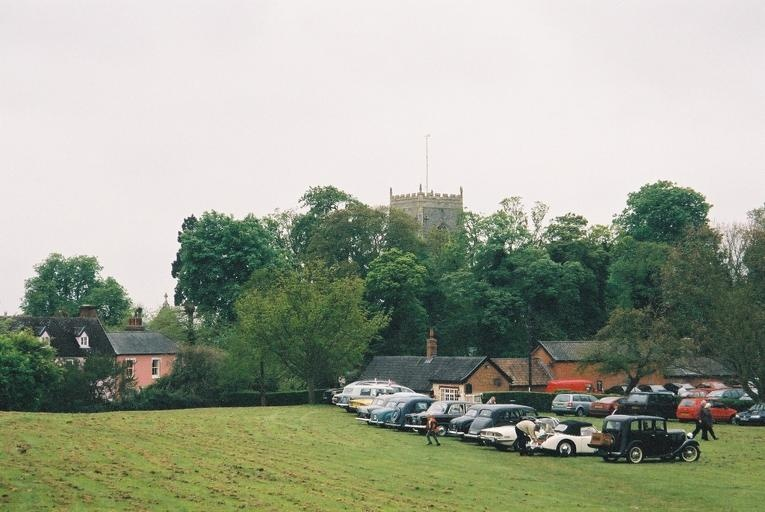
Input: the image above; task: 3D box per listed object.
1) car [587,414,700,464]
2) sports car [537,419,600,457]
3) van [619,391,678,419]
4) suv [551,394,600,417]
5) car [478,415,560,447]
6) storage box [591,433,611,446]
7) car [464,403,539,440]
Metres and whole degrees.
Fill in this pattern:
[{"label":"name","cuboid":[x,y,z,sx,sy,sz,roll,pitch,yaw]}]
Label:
[{"label":"car","cuboid":[18.163,12.679,96.355,7.148,3.308,3.855,2,0,-23]},{"label":"sports car","cuboid":[13.011,13.106,96.691,5.746,2.710,2.944,-10,-2,6]},{"label":"van","cuboid":[21.353,12.144,110.455,3.943,1.793,2.282,-3,1,-32]},{"label":"suv","cuboid":[16.338,12.391,115.078,3.363,1.106,1.614,-1,-1,-33]},{"label":"car","cuboid":[9.787,12.752,97.885,4.385,1.447,2.380,-2,1,-19]},{"label":"storage box","cuboid":[14.927,12.665,95.074,1.458,0.994,0.809,3,-5,3]},{"label":"car","cuboid":[8.558,11.853,100.011,4.743,2.169,2.469,-2,1,-24]}]
